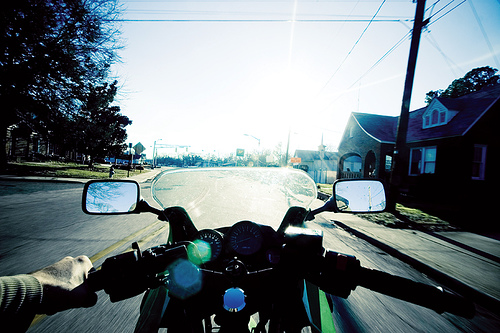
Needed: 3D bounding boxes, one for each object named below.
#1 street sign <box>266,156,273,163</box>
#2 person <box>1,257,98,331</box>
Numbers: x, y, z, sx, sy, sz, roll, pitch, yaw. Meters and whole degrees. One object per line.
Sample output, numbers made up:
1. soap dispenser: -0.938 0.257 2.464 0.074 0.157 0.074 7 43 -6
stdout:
1. street sign: 0.573 -0.242 9.575 0.177 0.045 0.195 22 29 6
2. person: -3.790 2.556 6.103 1.712 0.629 1.091 -28 45 -32
